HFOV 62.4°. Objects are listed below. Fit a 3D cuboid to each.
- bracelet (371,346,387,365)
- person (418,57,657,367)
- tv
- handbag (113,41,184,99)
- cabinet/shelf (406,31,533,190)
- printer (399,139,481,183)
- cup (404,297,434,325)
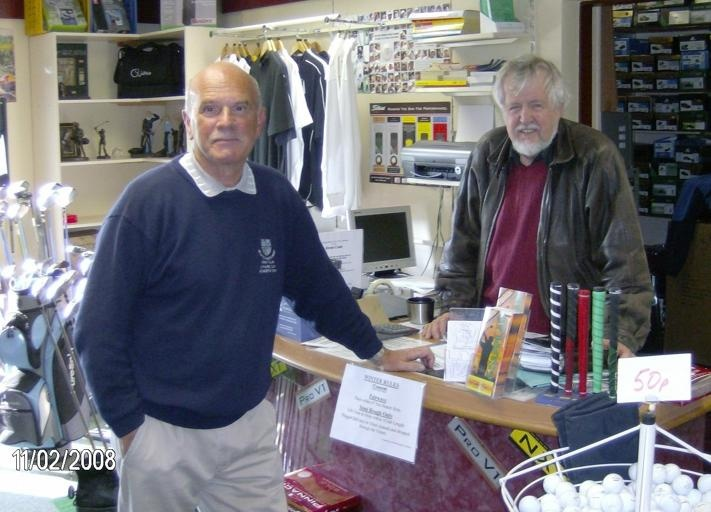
[{"bbox_3d":[0.087,0.353,2.100,0.062,0.058,0.065,11,-8,-13],"label":"bracelet"},{"bbox_3d":[0.781,-0.221,2.518,0.882,1.166,0.657,9,26,37],"label":"person"},{"bbox_3d":[0.231,-0.130,4.084,0.439,0.450,0.161,-4,3,29],"label":"tv"},{"bbox_3d":[-1.920,-1.767,5.519,0.715,0.519,0.283,2,8,13],"label":"handbag"},{"bbox_3d":[0.728,-0.926,3.643,0.514,0.938,0.974,-6,16,-23],"label":"cabinet/shelf"},{"bbox_3d":[0.595,-0.608,3.819,0.482,0.231,0.367,9,19,34],"label":"printer"},{"bbox_3d":[0.305,0.249,2.778,0.126,0.111,0.121,-1,8,0],"label":"cup"}]
